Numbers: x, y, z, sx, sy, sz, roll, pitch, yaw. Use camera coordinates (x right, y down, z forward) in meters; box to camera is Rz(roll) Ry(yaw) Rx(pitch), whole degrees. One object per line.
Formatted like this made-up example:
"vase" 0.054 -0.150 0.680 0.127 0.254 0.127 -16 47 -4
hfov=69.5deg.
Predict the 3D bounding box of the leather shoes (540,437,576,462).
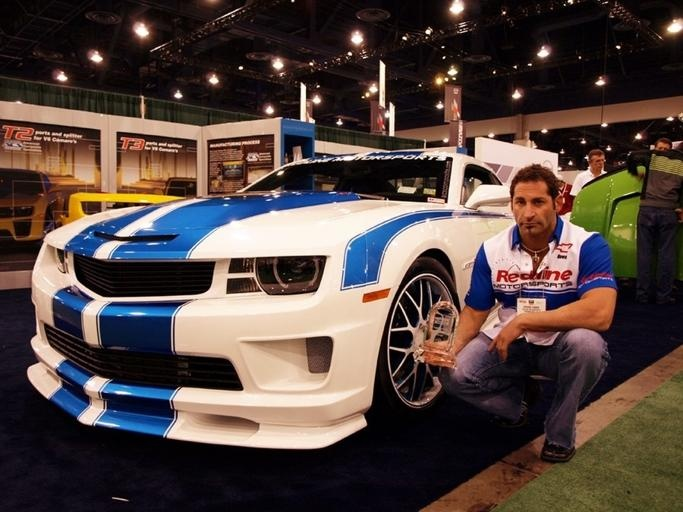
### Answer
"leather shoes" 1.011 0.898 2.304 0.173 0.059 0.071 -5 5 -38

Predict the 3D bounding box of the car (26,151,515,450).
"car" 0.091 0.218 3.031 1.583 0.739 2.578 -1 -3 35

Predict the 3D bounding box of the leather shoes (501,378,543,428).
"leather shoes" 0.944 0.775 2.605 0.120 0.138 0.336 28 63 40

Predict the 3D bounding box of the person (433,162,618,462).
"person" 0.885 0.258 2.425 0.905 1.201 0.786 -7 0 39
